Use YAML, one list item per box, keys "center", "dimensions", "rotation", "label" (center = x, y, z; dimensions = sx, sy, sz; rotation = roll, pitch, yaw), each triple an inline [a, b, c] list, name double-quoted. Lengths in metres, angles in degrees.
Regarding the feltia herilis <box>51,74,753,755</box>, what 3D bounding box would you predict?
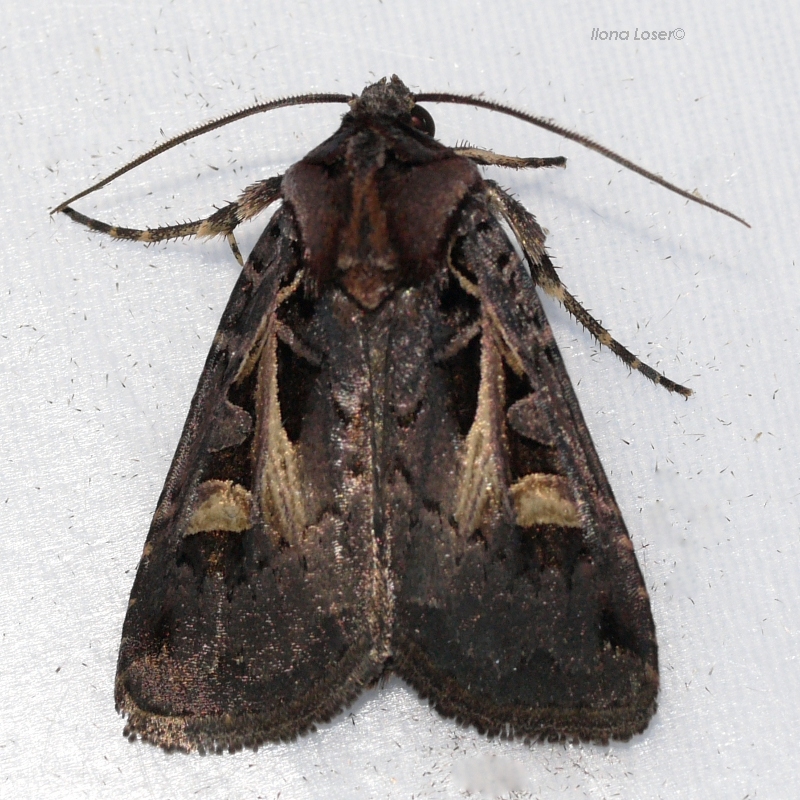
- center: [-0.124, 0.114, 6.229]
  dimensions: [2.847, 0.877, 2.757]
  rotation: [-3, 85, 7]
  label: "feltia herilis"
